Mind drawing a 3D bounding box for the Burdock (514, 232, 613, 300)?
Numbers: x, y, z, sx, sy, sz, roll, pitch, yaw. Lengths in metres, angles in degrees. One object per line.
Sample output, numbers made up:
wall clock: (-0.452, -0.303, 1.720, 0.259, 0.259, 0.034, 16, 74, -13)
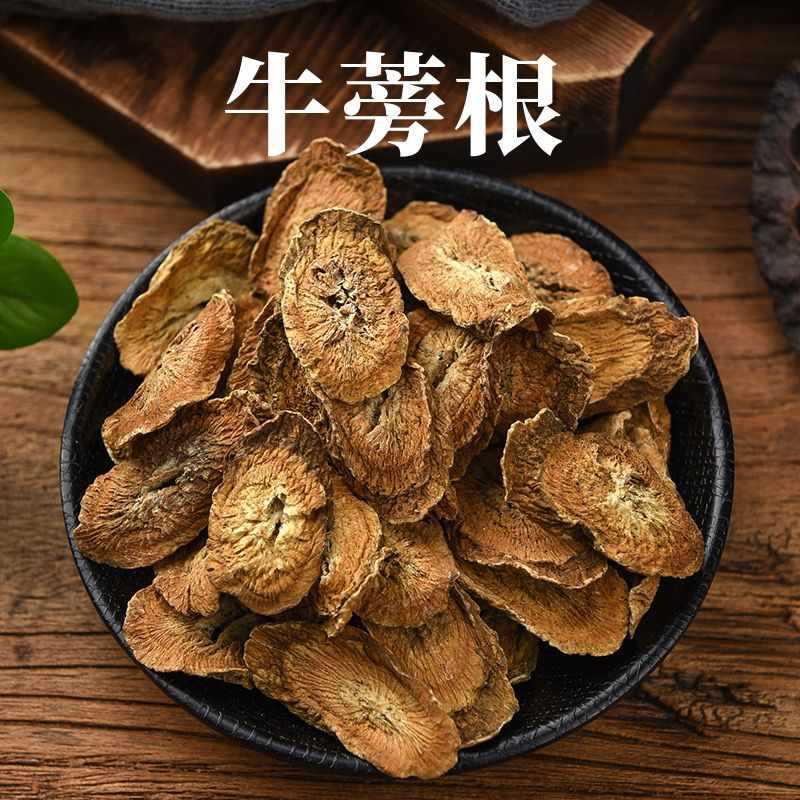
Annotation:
Burdock: (0.225, -0.193, 1.369, 0.111, 0.123, 0.028, 24, 112, 18)

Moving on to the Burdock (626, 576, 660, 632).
Burdock: (0.305, 0.256, 1.203, 0.020, 0.062, 0.065, 23, 99, 31)

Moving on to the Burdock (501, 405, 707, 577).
Burdock: (0.213, 0.131, 1.228, 0.297, 0.091, 0.181, 30, 54, -3)
